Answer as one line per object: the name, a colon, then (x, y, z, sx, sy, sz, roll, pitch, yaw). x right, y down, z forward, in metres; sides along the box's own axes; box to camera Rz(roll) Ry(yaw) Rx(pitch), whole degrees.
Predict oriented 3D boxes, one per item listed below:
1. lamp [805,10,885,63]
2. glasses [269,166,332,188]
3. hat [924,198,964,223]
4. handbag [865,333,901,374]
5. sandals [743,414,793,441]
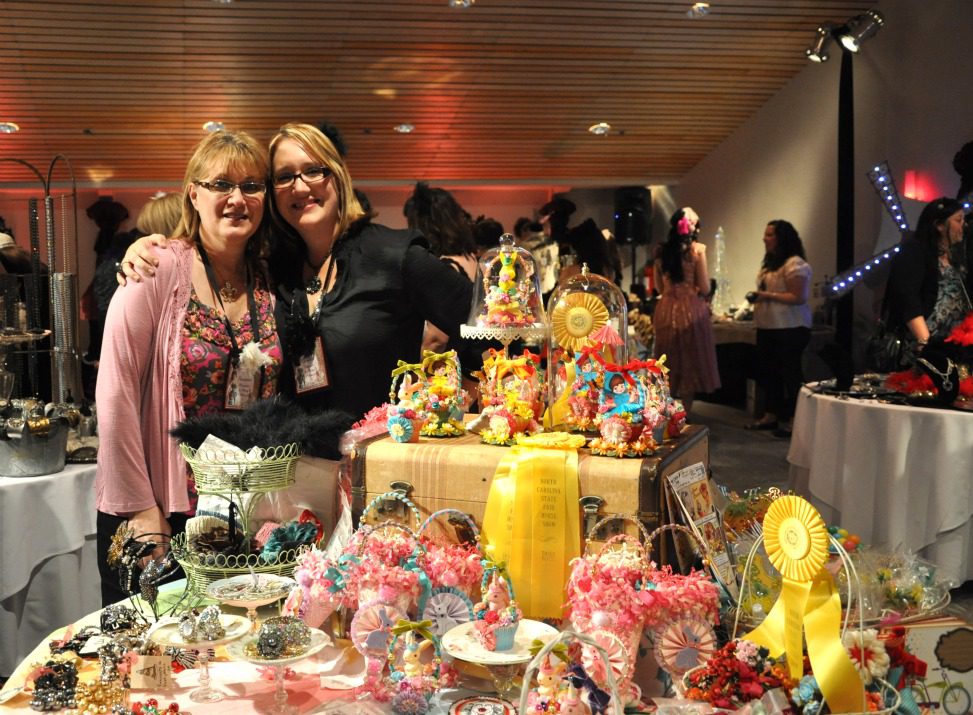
lamp: (2.841, -2.526, 6.219, 0.426, 0.323, 0.655, 2, -2, 11)
glasses: (-0.640, -0.616, 2.679, 0.191, 0.058, 0.041, 2, -1, -3)
hat: (2.695, -0.837, 4.586, 0.181, 0.168, 0.139, -6, 6, 38)
handbag: (2.377, -0.025, 4.601, 0.144, 0.200, 0.200, 0, -5, 9)
sandals: (2.719, 0.674, 7.569, 0.462, 0.192, 0.158, 8, 9, 41)
